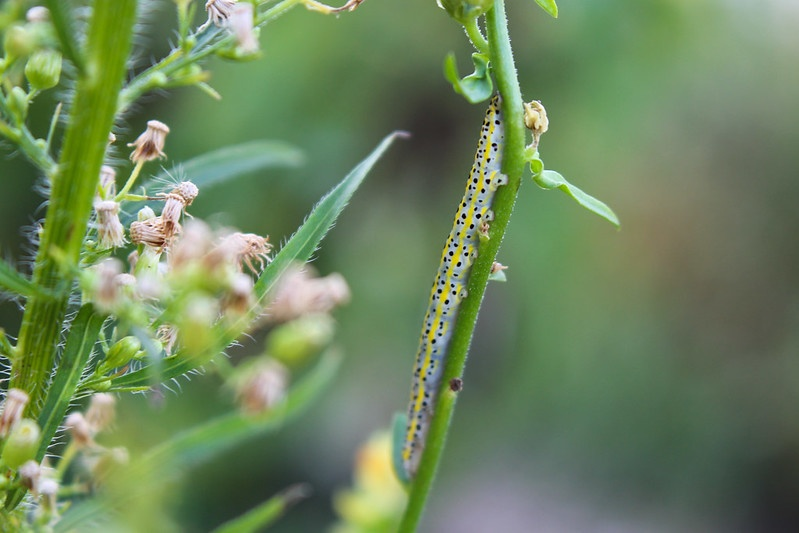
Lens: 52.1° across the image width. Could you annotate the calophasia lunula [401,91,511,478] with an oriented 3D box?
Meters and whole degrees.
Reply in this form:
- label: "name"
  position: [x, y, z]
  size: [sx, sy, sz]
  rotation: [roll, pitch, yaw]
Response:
- label: "calophasia lunula"
  position: [0.310, -0.214, 3.054]
  size: [0.182, 0.176, 1.699]
  rotation: [-20, 38, 31]
